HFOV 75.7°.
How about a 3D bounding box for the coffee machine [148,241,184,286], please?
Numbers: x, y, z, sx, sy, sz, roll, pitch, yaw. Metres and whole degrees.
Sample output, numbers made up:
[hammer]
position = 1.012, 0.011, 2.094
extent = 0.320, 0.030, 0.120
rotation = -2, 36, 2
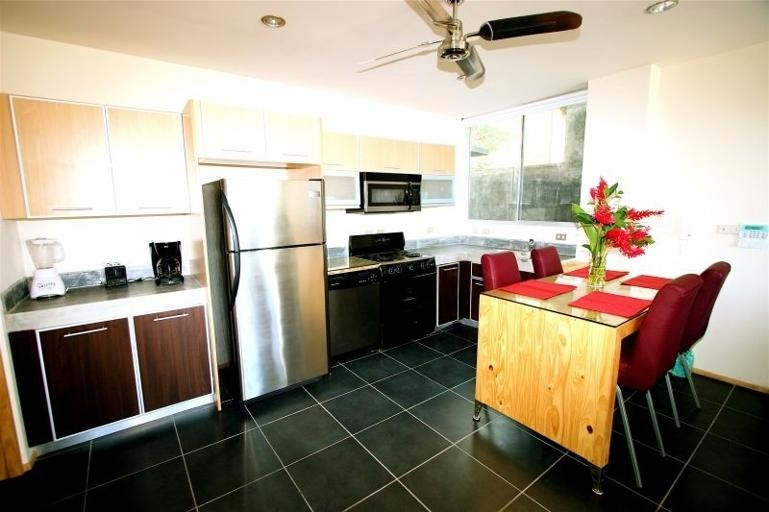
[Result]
[coffee machine]
position = -2.039, 0.056, 4.651
extent = 0.257, 0.379, 0.237
rotation = -7, 10, -24

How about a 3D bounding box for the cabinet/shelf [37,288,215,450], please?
[cabinet/shelf]
position = -2.379, 0.962, 4.494
extent = 0.679, 1.081, 1.308
rotation = -3, 3, 43

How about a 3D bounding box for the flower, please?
[flower]
position = 2.099, -0.139, 4.391
extent = 0.770, 0.847, 0.683
rotation = 2, 12, -18

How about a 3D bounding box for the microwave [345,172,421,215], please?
[microwave]
position = 0.012, -0.735, 5.847
extent = 0.871, 0.425, 0.428
rotation = -6, 10, -39

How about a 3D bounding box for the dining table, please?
[dining table]
position = 2.074, 0.876, 4.704
extent = 2.192, 1.180, 1.267
rotation = -9, 14, -41

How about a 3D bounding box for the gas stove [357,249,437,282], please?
[gas stove]
position = 0.192, 0.116, 5.643
extent = 0.786, 0.235, 0.376
rotation = -7, 10, -30

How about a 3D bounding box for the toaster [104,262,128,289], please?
[toaster]
position = -2.457, 0.171, 4.526
extent = 0.199, 0.210, 0.165
rotation = -7, 10, -29

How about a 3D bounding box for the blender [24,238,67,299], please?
[blender]
position = -2.929, 0.093, 4.284
extent = 0.282, 0.499, 0.241
rotation = -7, 10, -27
